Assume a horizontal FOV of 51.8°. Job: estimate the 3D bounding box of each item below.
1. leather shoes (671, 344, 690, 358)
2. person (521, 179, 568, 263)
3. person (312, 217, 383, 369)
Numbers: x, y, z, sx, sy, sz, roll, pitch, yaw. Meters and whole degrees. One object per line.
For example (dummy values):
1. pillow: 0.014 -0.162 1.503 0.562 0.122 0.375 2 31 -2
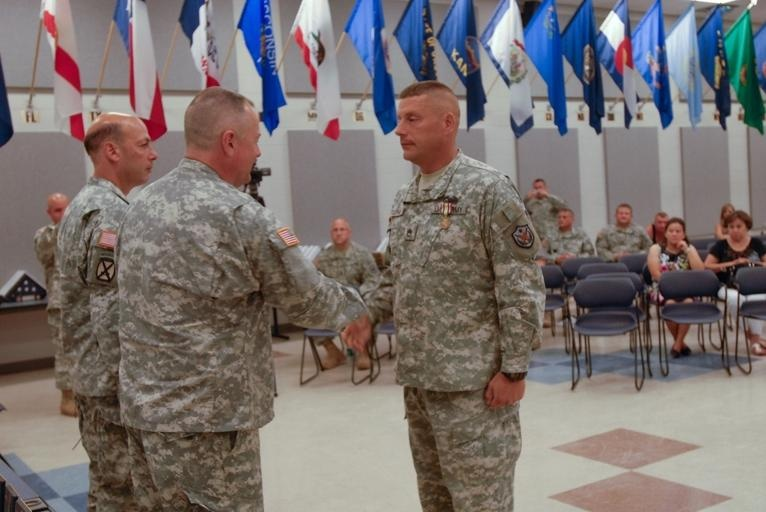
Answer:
1. leather shoes: 3.587 1.155 9.476 0.339 0.111 0.135 -10 12 -38
2. person: 2.596 -0.472 12.660 0.703 1.611 0.440 -10 -25 12
3. person: -0.527 0.507 10.080 0.981 1.992 0.979 -3 9 -14
